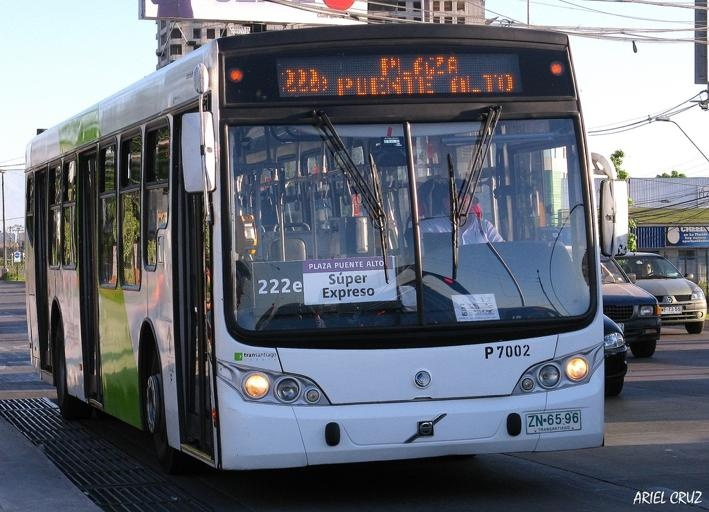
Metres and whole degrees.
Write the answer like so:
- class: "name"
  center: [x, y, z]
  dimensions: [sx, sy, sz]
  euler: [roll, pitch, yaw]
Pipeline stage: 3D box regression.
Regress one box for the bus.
- class: "bus"
  center: [-0.839, 0.044, 7.483]
  dimensions: [5.706, 3.934, 2.572]
  euler: [-3, 4, 39]
